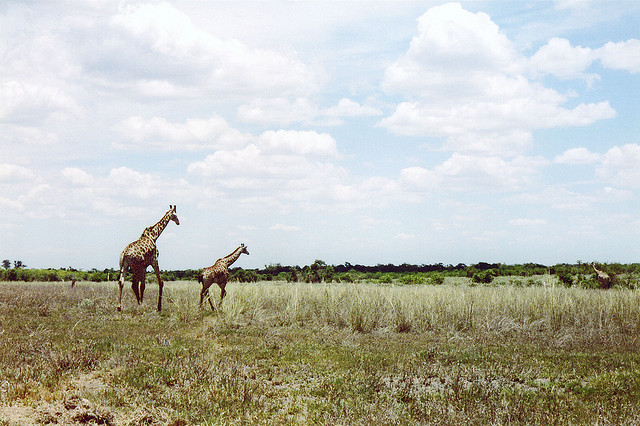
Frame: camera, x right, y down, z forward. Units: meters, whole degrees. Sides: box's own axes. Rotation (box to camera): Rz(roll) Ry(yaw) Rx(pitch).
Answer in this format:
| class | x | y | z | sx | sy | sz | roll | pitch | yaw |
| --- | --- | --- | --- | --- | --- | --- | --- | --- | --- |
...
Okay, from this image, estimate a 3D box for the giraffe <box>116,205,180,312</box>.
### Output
| class | x | y | z | sx | sy | sz | roll | pitch | yaw |
| --- | --- | --- | --- | --- | --- | --- | --- | --- | --- |
| giraffe | -7.408 | 2.058 | 31.713 | 2.427 | 4.571 | 5.108 | -1 | 14 | -14 |
